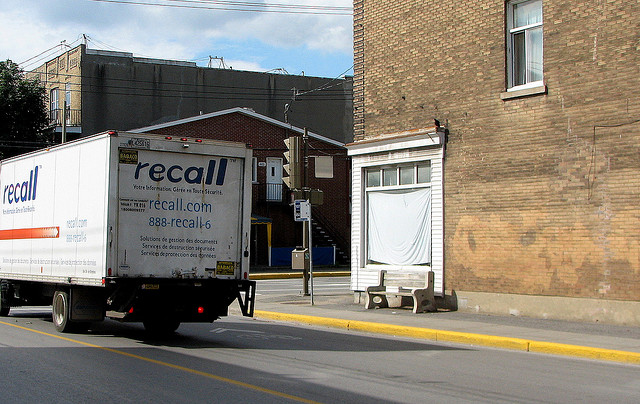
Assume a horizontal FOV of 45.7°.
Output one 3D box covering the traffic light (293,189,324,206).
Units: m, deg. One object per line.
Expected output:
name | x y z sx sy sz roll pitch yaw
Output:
traffic light | -0.387 -0.142 26.906 0.994 0.813 0.527 0 -2 6

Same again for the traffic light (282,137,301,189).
traffic light | -1.023 -1.425 28.161 0.730 1.904 0.443 -2 -4 24

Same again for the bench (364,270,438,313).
bench | 2.573 2.922 24.562 1.170 1.220 2.346 2 -4 -35

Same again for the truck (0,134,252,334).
truck | -5.766 0.778 21.697 4.054 3.753 7.451 2 -1 -40
